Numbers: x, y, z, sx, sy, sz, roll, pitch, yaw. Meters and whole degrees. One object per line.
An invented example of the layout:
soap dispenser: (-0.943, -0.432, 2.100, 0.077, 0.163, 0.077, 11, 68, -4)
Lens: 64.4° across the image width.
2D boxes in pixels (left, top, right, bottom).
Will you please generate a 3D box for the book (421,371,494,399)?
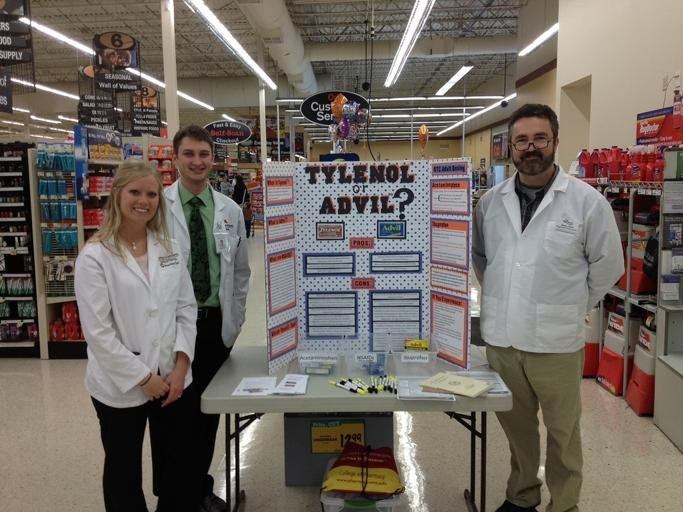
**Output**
book: (0.680, 0.752, 3.184, 0.397, 0.067, 0.213, 2, 8, 12)

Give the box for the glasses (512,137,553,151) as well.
glasses: (1.184, -0.692, 3.374, 0.221, 0.084, 0.057, 3, 7, 21)
